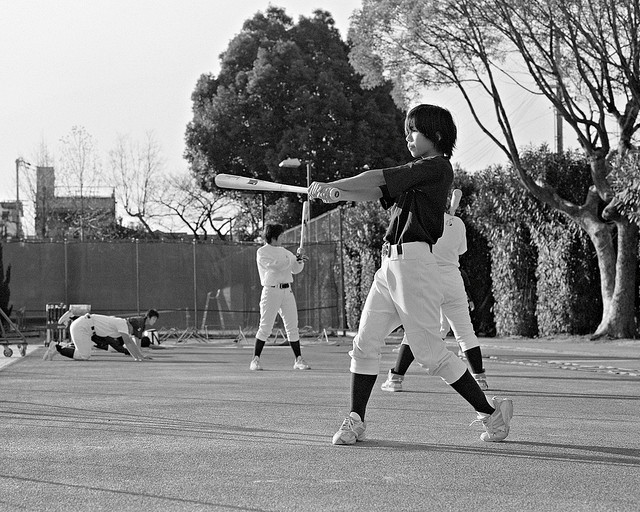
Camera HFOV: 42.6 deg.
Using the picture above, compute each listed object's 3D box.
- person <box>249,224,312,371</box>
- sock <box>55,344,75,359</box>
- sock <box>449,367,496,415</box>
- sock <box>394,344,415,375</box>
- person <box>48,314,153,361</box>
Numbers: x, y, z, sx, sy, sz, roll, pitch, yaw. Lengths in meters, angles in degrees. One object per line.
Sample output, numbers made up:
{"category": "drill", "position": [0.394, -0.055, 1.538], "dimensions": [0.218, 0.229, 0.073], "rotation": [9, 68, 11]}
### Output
{"category": "person", "position": [-0.621, 0.586, 12.233], "dimensions": [0.840, 2.187, 0.704], "rotation": [-1, -2, -2]}
{"category": "sock", "position": [-4.663, 1.743, 15.017], "dimensions": [0.316, 0.252, 0.263], "rotation": [0, -2, -15]}
{"category": "sock", "position": [1.118, 1.016, 6.153], "dimensions": [0.167, 0.492, 0.209], "rotation": [-39, 18, 15]}
{"category": "sock", "position": [0.943, 1.145, 9.109], "dimensions": [0.171, 0.342, 0.420], "rotation": [0, -2, -12]}
{"category": "person", "position": [-4.143, 1.561, 15.193], "dimensions": [1.819, 0.914, 0.748], "rotation": [-1, -6, -34]}
